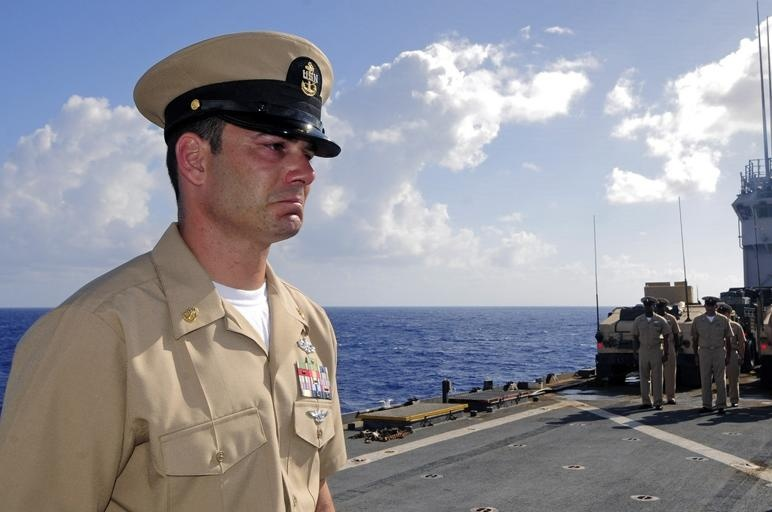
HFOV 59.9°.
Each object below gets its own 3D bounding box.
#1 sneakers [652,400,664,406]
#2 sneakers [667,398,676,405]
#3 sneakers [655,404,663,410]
[{"bbox_3d":[4.548,2.494,11.264,0.138,0.150,0.108,2,-15,10],"label":"sneakers"},{"bbox_3d":[5.056,2.593,11.926,0.117,0.119,0.114,4,-8,-43],"label":"sneakers"},{"bbox_3d":[4.535,2.515,11.197,0.072,0.047,0.125,-1,-6,3],"label":"sneakers"}]
